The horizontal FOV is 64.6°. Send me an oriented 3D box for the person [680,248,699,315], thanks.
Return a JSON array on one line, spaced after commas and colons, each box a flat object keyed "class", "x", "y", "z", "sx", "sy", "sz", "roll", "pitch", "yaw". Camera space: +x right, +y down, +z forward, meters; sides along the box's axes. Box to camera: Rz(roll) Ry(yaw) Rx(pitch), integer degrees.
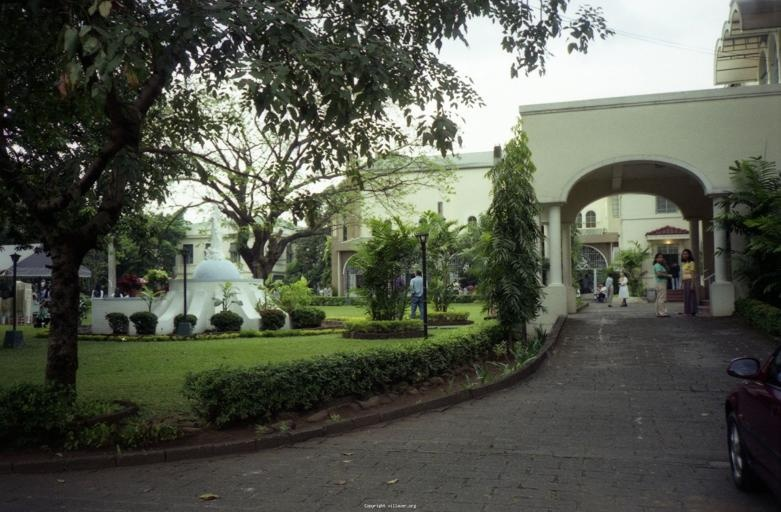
[{"class": "person", "x": 8.886, "y": 0.819, "z": 18.191, "sx": 0.422, "sy": 1.907, "sz": 1.116, "roll": -6, "pitch": -6, "yaw": 25}]
